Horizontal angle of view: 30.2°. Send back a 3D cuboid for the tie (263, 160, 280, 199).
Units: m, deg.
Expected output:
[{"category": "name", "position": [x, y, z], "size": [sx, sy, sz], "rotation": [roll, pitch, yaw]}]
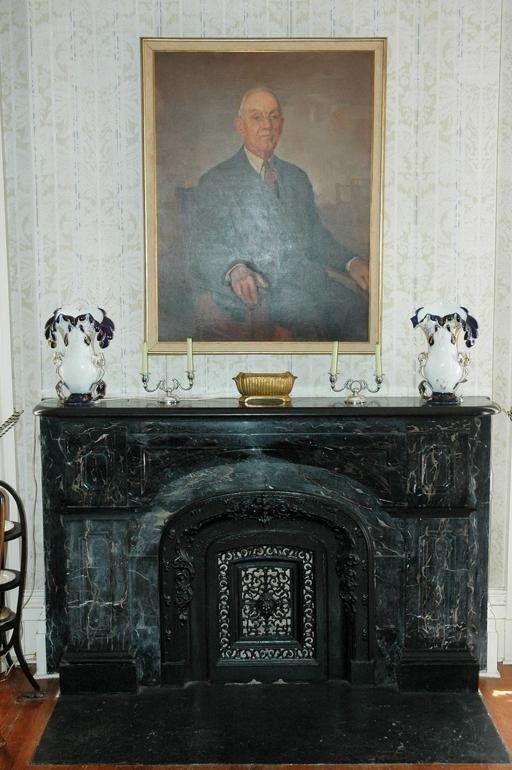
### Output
[{"category": "tie", "position": [0.061, -0.894, 4.075], "size": [0.063, 0.154, 0.010], "rotation": [-2, 3, 3]}]
